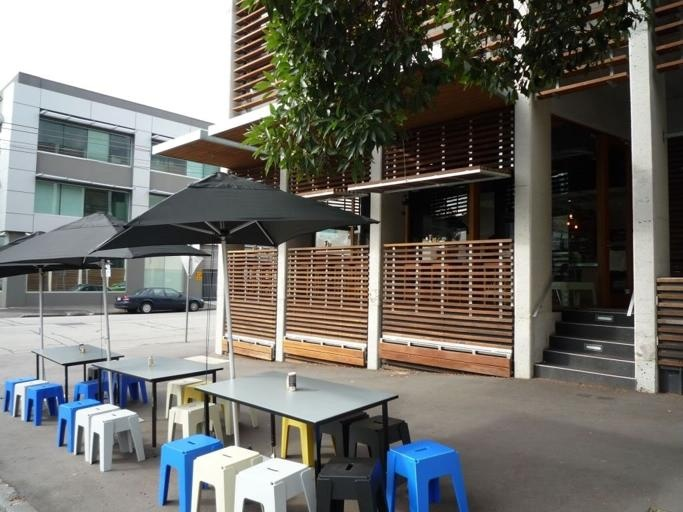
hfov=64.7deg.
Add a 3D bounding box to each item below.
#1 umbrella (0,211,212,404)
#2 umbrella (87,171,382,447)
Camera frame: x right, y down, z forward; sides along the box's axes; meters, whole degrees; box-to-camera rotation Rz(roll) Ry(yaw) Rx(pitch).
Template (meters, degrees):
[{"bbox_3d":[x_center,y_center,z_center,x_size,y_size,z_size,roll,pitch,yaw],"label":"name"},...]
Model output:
[{"bbox_3d":[-4.307,0.599,8.792,3.114,2.684,3.068,-3,-6,7],"label":"umbrella"},{"bbox_3d":[-1.138,0.565,6.770,3.200,2.041,2.835,-5,-4,8],"label":"umbrella"}]
